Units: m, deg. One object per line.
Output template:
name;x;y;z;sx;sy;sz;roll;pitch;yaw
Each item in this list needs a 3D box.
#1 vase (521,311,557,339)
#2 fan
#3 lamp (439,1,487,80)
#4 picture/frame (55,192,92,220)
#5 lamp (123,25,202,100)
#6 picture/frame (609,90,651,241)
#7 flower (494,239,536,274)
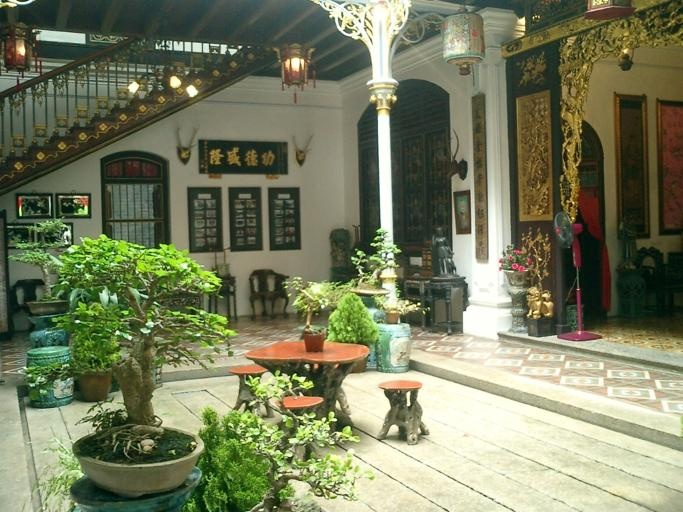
vase;2.981;0.968;8.309;0.533;0.326;0.272;-1;0;-28
fan;3.809;0.239;8.822;0.571;1.862;2.374;1;5;24
lamp;1.591;-2.820;7.211;0.509;0.837;0.316;0;5;9
picture/frame;-5.236;-0.989;10.784;0.762;0.515;0.053;-2;2;-32
lamp;-3.190;-3.473;9.951;1.592;0.978;0.833;-1;6;-27
picture/frame;5.254;-1.622;10.049;0.829;2.590;0.150;-3;5;-24
flower;2.697;0.037;8.695;0.459;0.422;0.512;-6;6;-44
